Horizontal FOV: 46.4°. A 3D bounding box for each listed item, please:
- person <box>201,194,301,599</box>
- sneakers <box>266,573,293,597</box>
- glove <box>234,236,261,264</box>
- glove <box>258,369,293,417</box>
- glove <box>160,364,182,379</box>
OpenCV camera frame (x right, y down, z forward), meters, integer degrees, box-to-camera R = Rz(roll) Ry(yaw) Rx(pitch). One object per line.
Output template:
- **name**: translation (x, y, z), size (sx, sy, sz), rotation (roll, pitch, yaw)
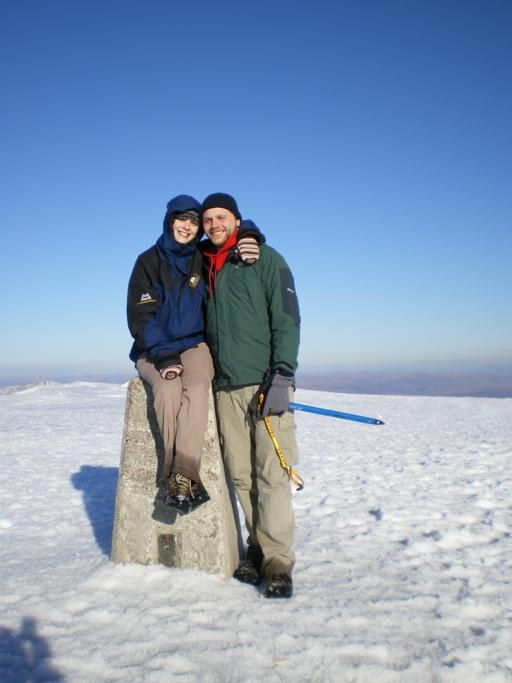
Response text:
- **person**: translation (0.003, 0.249, 3.495), size (0.752, 2.243, 0.425), rotation (1, -2, 40)
- **sneakers**: translation (0.121, 1.307, 3.222), size (0.151, 0.108, 0.219), rotation (1, -1, 1)
- **glove**: translation (-0.049, -0.529, 3.419), size (0.119, 0.146, 0.117), rotation (2, -1, -3)
- **glove**: translation (0.091, 0.281, 3.361), size (0.187, 0.250, 0.143), rotation (8, 5, -37)
- **glove**: translation (-0.466, 0.165, 3.276), size (0.092, 0.033, 0.089), rotation (-13, 6, 19)
